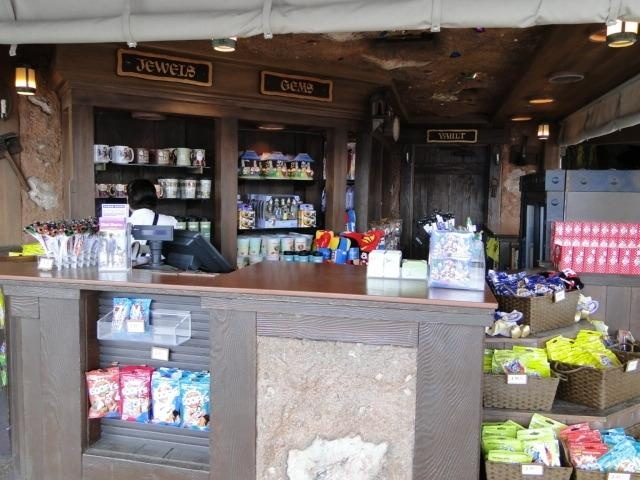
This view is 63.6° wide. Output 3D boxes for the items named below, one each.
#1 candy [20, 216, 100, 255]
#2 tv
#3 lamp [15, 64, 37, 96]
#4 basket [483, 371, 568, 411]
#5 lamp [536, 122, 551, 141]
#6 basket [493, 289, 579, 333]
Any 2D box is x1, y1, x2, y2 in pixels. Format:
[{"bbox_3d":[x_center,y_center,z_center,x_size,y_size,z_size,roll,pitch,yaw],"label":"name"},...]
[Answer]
[{"bbox_3d":[-1.620,-0.070,3.350,0.349,0.159,0.283,-2,1,-3],"label":"candy"},{"bbox_3d":[-0.797,0.104,3.351,0.349,0.120,0.327,2,-27,32],"label":"tv"},{"bbox_3d":[-2.895,-1.557,5.091,0.192,0.272,0.340,0,1,-29],"label":"lamp"},{"bbox_3d":[1.185,0.892,3.046,0.393,0.169,0.249,1,-1,12],"label":"basket"},{"bbox_3d":[3.513,-1.714,8.122,0.172,0.258,0.463,1,1,24],"label":"lamp"},{"bbox_3d":[1.457,0.416,3.459,0.482,0.207,0.345,0,0,-33],"label":"basket"}]
